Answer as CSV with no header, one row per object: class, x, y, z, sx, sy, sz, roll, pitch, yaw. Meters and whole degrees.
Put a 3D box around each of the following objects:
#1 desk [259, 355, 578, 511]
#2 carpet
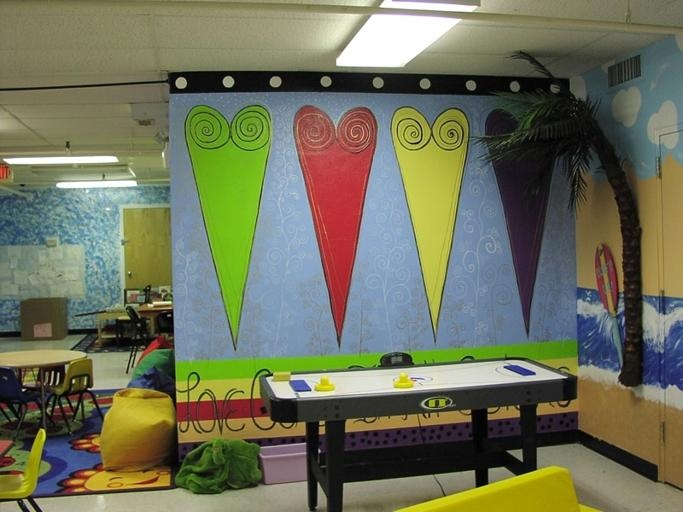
desk,0.573,1.486,4.257,2.378,1.187,0.806,-2,-2,-10
carpet,-2.664,2.046,5.338,1.288,0.014,1.169,-5,4,-4
